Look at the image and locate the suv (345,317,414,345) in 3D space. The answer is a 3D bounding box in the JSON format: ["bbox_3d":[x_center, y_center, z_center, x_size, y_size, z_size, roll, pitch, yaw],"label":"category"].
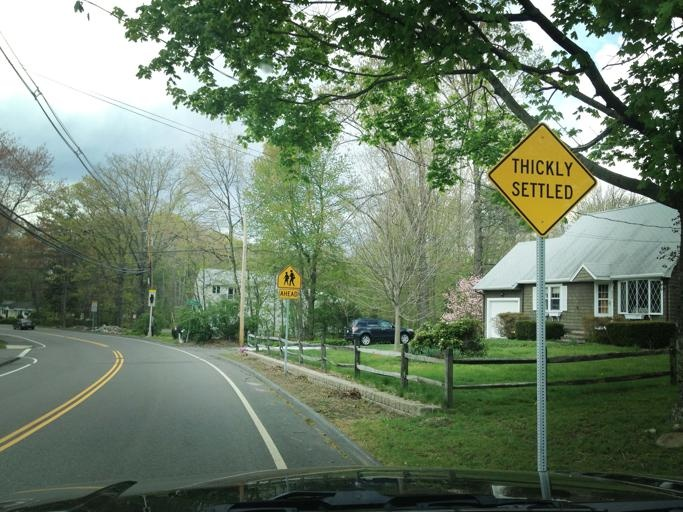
[{"bbox_3d":[2.141,3.814,38.407,3.275,1.256,1.531,-1,-5,-15],"label":"suv"}]

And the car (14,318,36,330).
[{"bbox_3d":[-24.597,5.322,58.781,0.866,0.698,1.873,4,-13,-36],"label":"car"}]
